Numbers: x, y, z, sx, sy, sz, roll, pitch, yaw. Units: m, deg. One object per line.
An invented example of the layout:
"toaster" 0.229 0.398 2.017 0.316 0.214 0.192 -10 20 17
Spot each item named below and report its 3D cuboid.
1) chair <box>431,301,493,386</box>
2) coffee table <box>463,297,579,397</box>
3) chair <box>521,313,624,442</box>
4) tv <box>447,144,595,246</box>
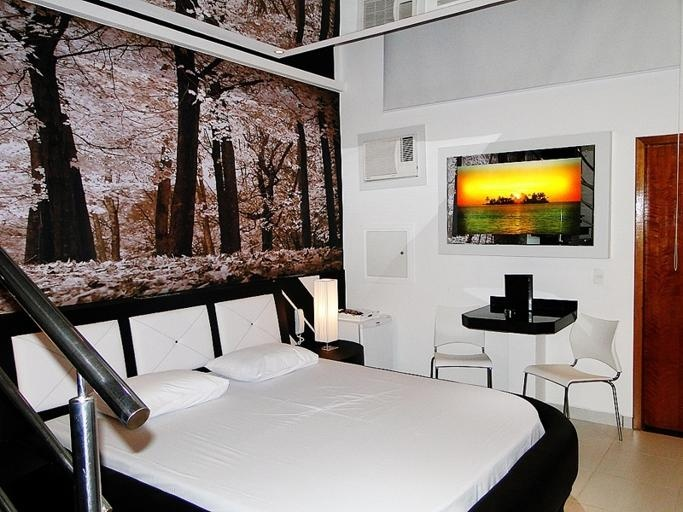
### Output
"chair" 1.179 1.000 4.815 0.603 0.916 0.626 0 3 19
"coffee table" 1.685 0.586 4.680 1.123 1.057 0.949 3 5 43
"chair" 2.016 1.052 4.301 0.697 0.959 0.670 -1 3 -25
"tv" 1.830 -0.600 4.829 1.114 0.654 0.020 1 4 33
